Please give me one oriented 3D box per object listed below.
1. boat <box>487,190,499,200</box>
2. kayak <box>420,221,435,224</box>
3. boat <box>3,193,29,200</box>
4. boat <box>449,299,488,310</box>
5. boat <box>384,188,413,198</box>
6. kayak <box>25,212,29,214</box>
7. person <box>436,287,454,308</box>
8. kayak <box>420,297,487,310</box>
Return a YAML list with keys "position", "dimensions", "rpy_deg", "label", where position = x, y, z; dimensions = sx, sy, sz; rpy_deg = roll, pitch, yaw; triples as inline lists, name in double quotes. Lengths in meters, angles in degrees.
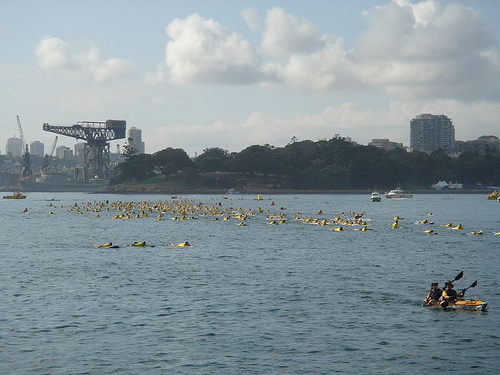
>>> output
- position: [54.916, 1.706, 225.788]
  dimensions: [2.781, 1.388, 3.001]
  rpy_deg: [-1, 0, -1]
  label: "boat"
- position: [21.847, 4.267, 122.687]
  dimensions: [1.309, 0.100, 2.711]
  rpy_deg: [1, 1, 18]
  label: "kayak"
- position: [-59.249, 2.090, 253.958]
  dimensions: [6.473, 1.877, 1.818]
  rpy_deg: [-1, 3, -1]
  label: "boat"
- position: [15.920, 8.387, 72.659]
  dimensions: [3.114, 0.716, 0.929]
  rpy_deg: [-1, 1, 9]
  label: "boat"
- position: [37.380, 1.301, 251.931]
  dimensions: [6.888, 2.164, 2.866]
  rpy_deg: [-1, 3, -3]
  label: "boat"
- position: [-33.473, 3.788, 150.882]
  dimensions: [0.499, 0.086, 6.856]
  rpy_deg: [1, 1, -12]
  label: "kayak"
- position: [14.191, 7.921, 72.950]
  dimensions: [1.286, 1.268, 0.858]
  rpy_deg: [1, 1, 23]
  label: "person"
- position: [14.789, 8.367, 73.004]
  dimensions: [5.055, 0.914, 1.407]
  rpy_deg: [-1, 3, 14]
  label: "kayak"
